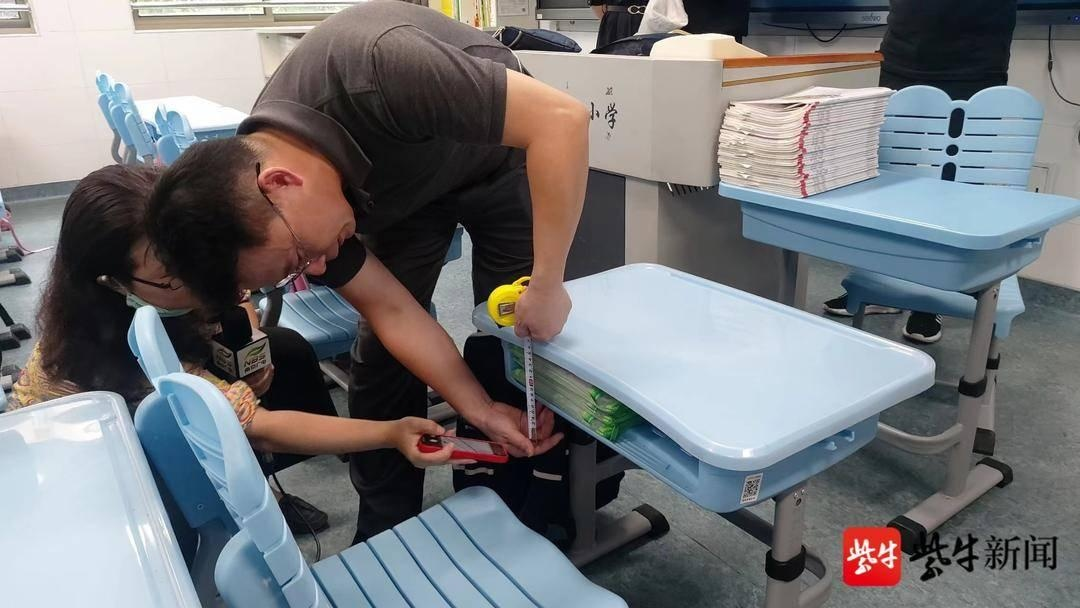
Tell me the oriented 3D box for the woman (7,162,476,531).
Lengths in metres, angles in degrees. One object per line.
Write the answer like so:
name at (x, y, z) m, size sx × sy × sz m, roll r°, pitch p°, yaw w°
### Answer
woman at (-1.006, 0.149, 2.046) m, size 1.265 × 1.115 × 0.801 m, roll 0°, pitch 44°, yaw -12°

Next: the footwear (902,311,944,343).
footwear at (1.970, 0.116, 3.260) m, size 0.162 × 0.132 × 0.313 m, roll 11°, pitch 24°, yaw 37°

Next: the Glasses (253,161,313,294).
Glasses at (-0.617, -0.196, 1.508) m, size 0.082 × 0.256 × 0.258 m, roll -18°, pitch -7°, yaw -28°

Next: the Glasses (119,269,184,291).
Glasses at (-1.023, -0.046, 1.681) m, size 0.105 × 0.028 × 0.096 m, roll 17°, pitch 18°, yaw 12°

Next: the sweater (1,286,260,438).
sweater at (-1.189, 0.215, 1.981) m, size 0.517 × 0.591 × 0.414 m, roll 1°, pitch 47°, yaw -6°

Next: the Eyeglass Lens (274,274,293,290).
Eyeglass Lens at (-0.737, -0.062, 1.808) m, size 0.050 × 0.016 × 0.036 m, roll -28°, pitch -11°, yaw 31°

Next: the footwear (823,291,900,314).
footwear at (1.517, 0.002, 2.962) m, size 0.295 × 0.106 × 0.095 m, roll 2°, pitch 20°, yaw 17°

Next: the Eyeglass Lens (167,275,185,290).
Eyeglass Lens at (-0.903, -0.052, 1.567) m, size 0.033 × 0.009 × 0.031 m, roll 12°, pitch 18°, yaw -6°

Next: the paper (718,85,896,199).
paper at (1.002, -0.630, 2.359) m, size 0.553 × 0.316 × 0.441 m, roll -20°, pitch 25°, yaw -36°
